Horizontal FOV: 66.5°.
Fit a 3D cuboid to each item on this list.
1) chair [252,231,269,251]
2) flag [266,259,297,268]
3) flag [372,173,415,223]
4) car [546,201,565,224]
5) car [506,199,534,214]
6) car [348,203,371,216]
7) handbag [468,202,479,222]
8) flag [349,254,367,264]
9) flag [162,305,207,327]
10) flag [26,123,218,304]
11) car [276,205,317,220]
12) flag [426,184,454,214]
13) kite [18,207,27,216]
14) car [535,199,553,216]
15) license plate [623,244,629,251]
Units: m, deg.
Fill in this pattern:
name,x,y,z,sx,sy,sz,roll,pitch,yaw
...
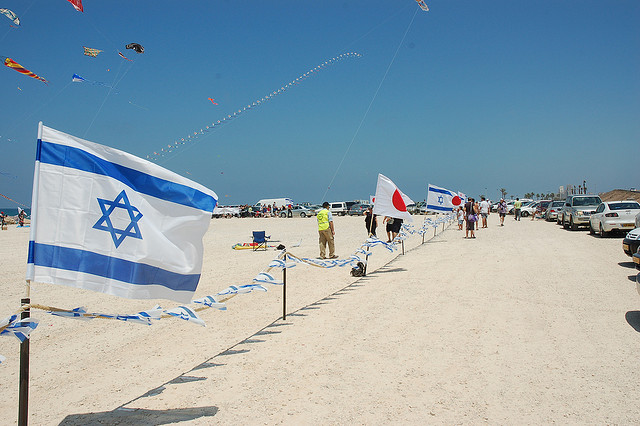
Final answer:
name,x,y,z,sx,sy,sz,roll,pitch,yaw
chair,-2.694,1.256,21.722,0.885,1.101,0.747,1,-12,-8
flag,-0.767,1.037,9.818,0.555,0.178,0.216,5,-7,-25
flag,2.336,-0.442,14.751,1.398,1.220,0.166,9,1,35
car,16.885,-0.040,34.481,1.492,1.256,3.297,0,6,16
car,19.828,-0.557,48.587,3.042,1.096,1.384,-7,7,-3
car,5.475,-0.443,68.726,1.613,1.226,2.551,1,9,27
handbag,7.179,0.022,23.141,0.301,0.837,0.785,1,10,23
flag,1.016,1.230,12.918,0.372,0.136,0.271,25,-4,5
flag,-2.032,1.636,7.302,0.503,0.132,0.490,26,11,0
flag,-2.723,0.159,6.540,2.836,2.446,0.229,16,-18,-23
car,-3.120,0.083,63.615,4.525,1.520,2.057,3,1,19
flag,6.033,-0.591,24.178,2.028,1.449,0.185,7,-1,-31
kite,-25.687,-0.071,42.148,0.343,0.868,0.744,-18,20,-39
car,18.829,-0.402,41.121,1.133,0.910,1.894,2,11,16
license plate,7.897,0.891,12.615,0.090,0.106,0.156,-2,-3,-7
